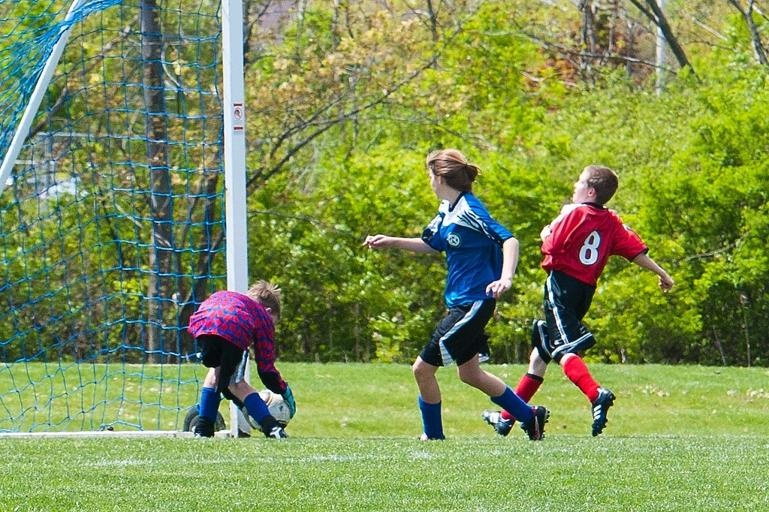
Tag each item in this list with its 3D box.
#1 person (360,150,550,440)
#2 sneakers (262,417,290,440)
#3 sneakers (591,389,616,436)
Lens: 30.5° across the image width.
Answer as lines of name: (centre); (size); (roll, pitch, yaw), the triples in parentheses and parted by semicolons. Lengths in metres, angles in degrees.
person: (0.892, 0.417, 16.457); (1.437, 3.378, 0.984); (-2, -7, 6)
sneakers: (-1.293, 2.026, 16.414); (0.189, 0.322, 0.134); (-46, -2, -24)
sneakers: (2.531, 1.742, 16.266); (0.302, 0.615, 0.203); (9, 16, 7)
